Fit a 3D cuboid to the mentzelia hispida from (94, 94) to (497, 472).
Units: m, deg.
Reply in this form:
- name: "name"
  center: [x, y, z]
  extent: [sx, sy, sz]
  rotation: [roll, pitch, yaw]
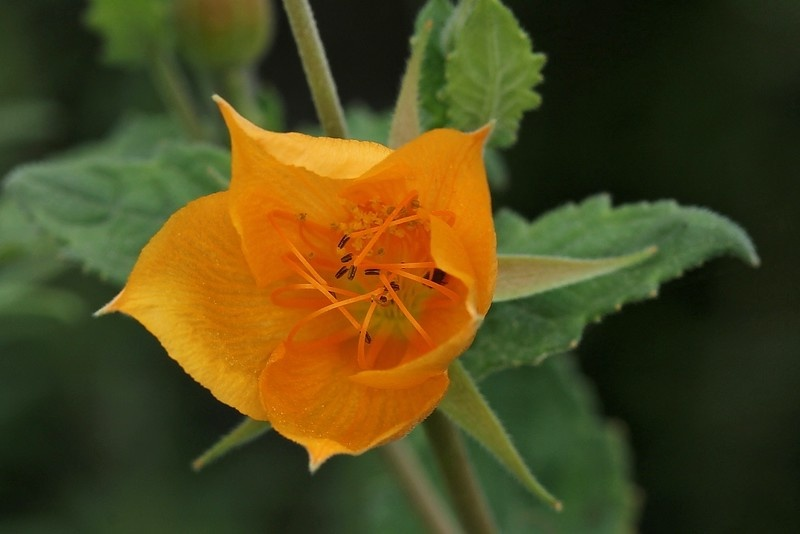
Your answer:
- name: "mentzelia hispida"
  center: [-0.130, -0.022, 1.426]
  extent: [0.592, 0.578, 0.376]
  rotation: [28, 30, 13]
